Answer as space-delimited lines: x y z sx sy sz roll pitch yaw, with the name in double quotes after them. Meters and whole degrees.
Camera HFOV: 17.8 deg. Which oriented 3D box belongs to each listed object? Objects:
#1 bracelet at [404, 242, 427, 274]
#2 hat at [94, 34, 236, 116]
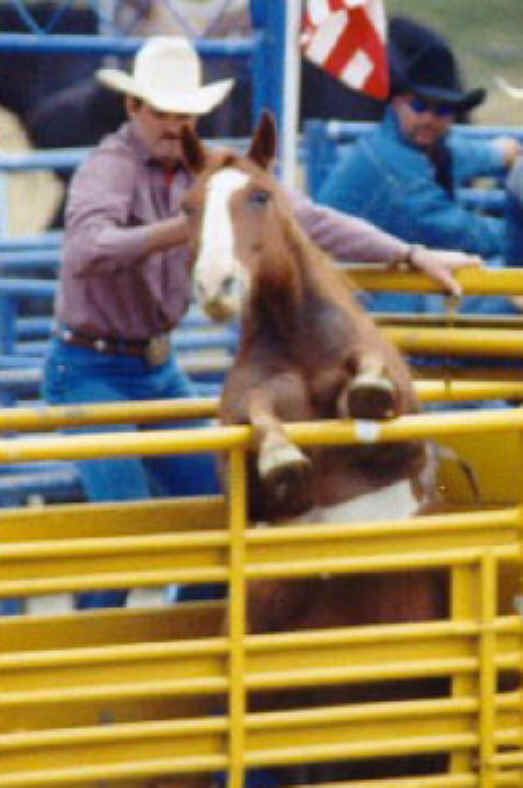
0.264 -0.248 2.978 0.033 0.049 0.045 1 -19 12 "bracelet"
-0.168 -0.537 2.767 0.151 0.071 0.162 10 -7 8 "hat"
